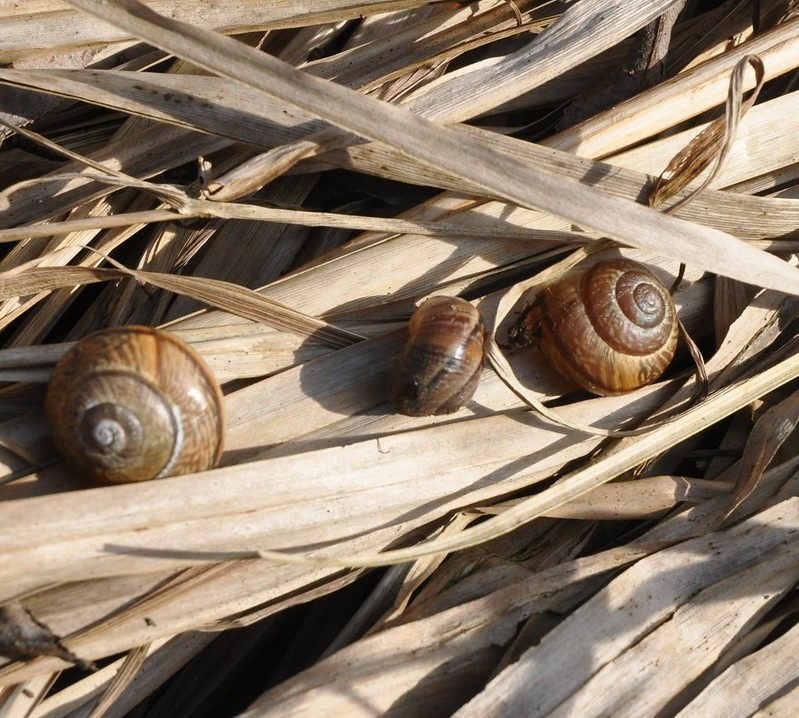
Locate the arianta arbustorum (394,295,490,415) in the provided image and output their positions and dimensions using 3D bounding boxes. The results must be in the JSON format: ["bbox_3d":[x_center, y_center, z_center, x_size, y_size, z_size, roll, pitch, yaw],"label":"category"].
[{"bbox_3d":[0.096,0.000,1.968,0.214,0.278,0.207,-2,29,17],"label":"arianta arbustorum"}]
